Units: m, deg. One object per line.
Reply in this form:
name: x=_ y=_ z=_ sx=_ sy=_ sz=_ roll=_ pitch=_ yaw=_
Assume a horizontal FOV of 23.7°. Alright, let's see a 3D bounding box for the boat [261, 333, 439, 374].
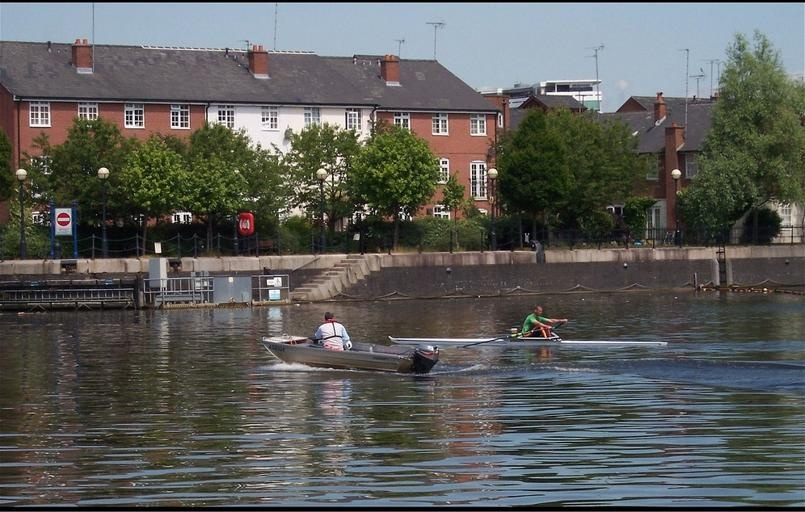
boat: x=-2.380 y=5.253 z=100.886 sx=8.508 sy=2.000 sz=1.442 roll=-3 pitch=-4 yaw=19
